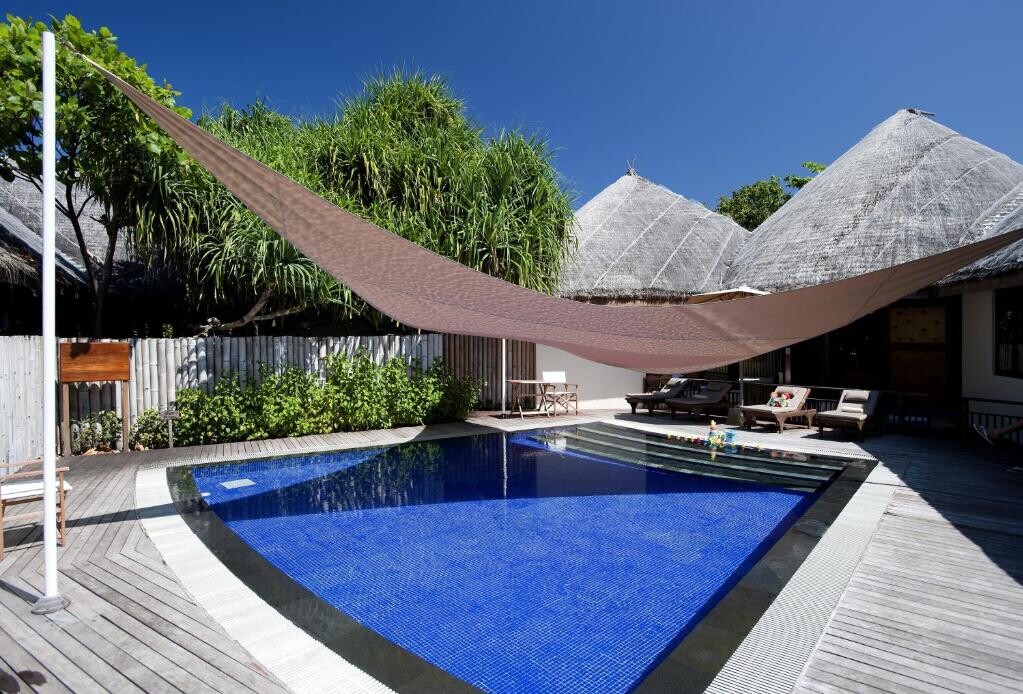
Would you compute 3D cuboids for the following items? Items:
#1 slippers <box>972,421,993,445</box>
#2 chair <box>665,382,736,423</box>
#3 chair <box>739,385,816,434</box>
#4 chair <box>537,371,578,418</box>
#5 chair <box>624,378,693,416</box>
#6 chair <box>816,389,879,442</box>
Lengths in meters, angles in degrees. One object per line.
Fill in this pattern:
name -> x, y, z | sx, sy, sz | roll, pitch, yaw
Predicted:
slippers -> 8.942, 1.692, 12.895 | 0.224, 0.257, 0.646 | -1, 10, 5
chair -> 4.458, 1.283, 15.848 | 1.230, 0.737, 1.086 | 1, -3, -24
chair -> 5.744, 1.329, 14.489 | 1.223, 0.861, 1.172 | 1, -4, -23
chair -> 1.317, 1.196, 17.307 | 1.088, 1.442, 1.042 | 1, -2, -16
chair -> 3.675, 1.278, 16.910 | 1.444, 0.819, 0.894 | 1, -1, -25
chair -> 6.737, 1.331, 13.720 | 1.341, 0.793, 0.811 | 4, -3, -43
